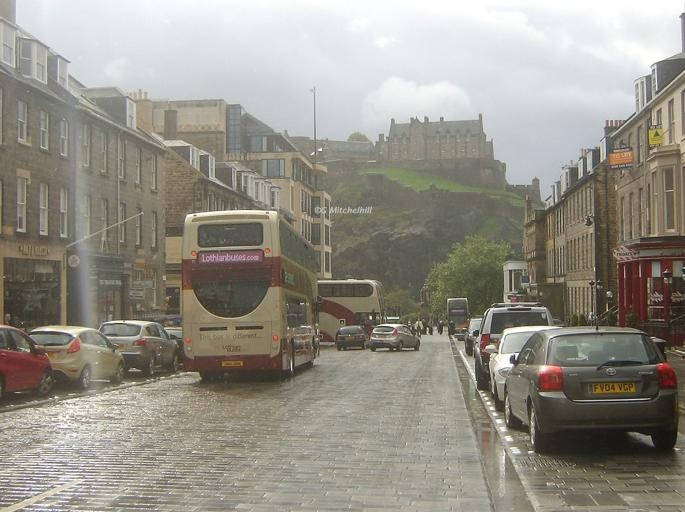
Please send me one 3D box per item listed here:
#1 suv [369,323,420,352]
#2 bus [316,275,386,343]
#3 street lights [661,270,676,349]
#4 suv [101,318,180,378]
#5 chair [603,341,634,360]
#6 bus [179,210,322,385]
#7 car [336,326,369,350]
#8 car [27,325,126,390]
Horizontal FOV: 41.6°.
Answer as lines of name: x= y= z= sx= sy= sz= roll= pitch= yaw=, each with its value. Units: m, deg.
suv: x=3.069 y=4.502 z=50.171 sx=1.255 sy=1.037 sz=2.798 roll=-1 pitch=-2 yaw=26
bus: x=0.354 y=3.678 z=59.628 sx=5.054 sy=3.932 sz=3.280 roll=-3 pitch=-5 yaw=17
street lights: x=13.726 y=1.714 z=38.065 sx=0.515 sy=2.391 sz=0.541 roll=-11 pitch=17 yaw=-17
suv: x=-6.366 y=2.864 z=29.168 sx=1.199 sy=1.102 sz=2.716 roll=-1 pitch=-2 yaw=10
chair: x=4.410 y=1.514 z=14.316 sx=0.379 sy=0.385 sz=0.227 roll=0 pitch=-6 yaw=4
bus: x=-2.662 y=1.118 z=27.958 sx=2.666 sy=5.381 sz=5.538 roll=0 pitch=-2 yaw=10
car: x=0.514 y=4.792 z=52.814 sx=1.638 sy=1.340 sz=1.880 roll=0 pitch=-2 yaw=-2
car: x=-6.947 y=2.634 z=24.108 sx=1.190 sy=0.933 sz=2.324 roll=0 pitch=-1 yaw=11
